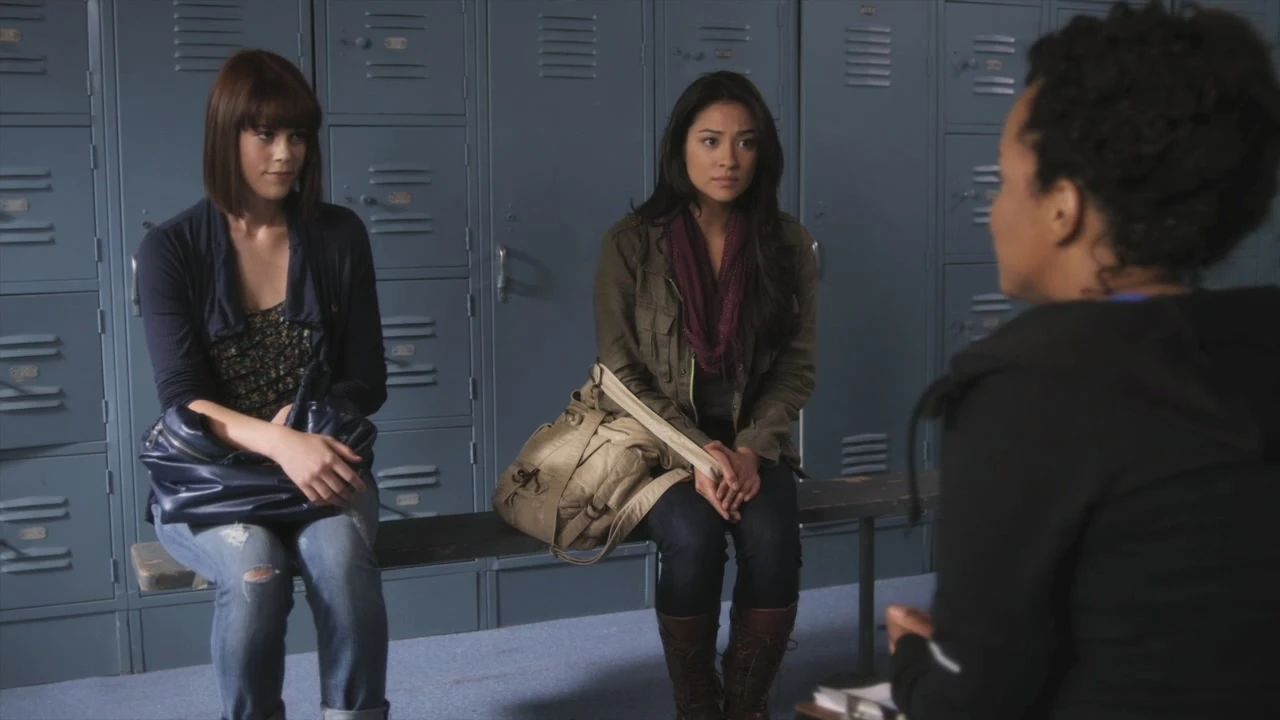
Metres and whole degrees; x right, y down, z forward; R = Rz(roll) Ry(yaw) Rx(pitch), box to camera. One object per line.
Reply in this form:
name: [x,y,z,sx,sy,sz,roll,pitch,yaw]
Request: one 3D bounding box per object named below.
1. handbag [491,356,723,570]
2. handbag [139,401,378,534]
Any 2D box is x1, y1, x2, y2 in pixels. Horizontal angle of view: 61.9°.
handbag: [-0.109,0.341,3.517,0.694,0.684,0.249,37,-3,23]
handbag: [-1.135,0.328,3.156,0.553,0.202,0.388,1,48,-8]
